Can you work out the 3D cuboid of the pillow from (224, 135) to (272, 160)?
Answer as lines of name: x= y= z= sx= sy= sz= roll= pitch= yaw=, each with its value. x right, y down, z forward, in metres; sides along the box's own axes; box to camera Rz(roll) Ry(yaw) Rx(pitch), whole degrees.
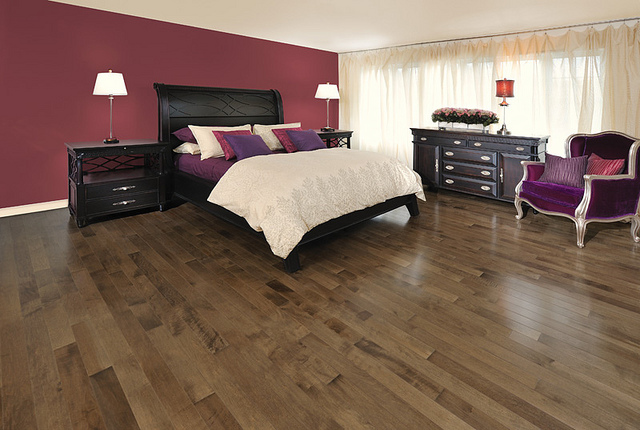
pillow: x=-0.942 y=-0.921 z=5.045 sx=0.511 sy=0.286 sz=0.482 roll=-12 pitch=20 yaw=-27

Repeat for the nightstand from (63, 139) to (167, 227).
nightstand: x=-2.711 y=-0.393 z=5.021 sx=1.131 sy=0.880 sz=0.668 roll=-10 pitch=16 yaw=-41

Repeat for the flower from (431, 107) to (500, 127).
flower: x=2.205 y=-1.522 z=5.930 sx=0.980 sy=0.280 sz=0.214 roll=13 pitch=24 yaw=40

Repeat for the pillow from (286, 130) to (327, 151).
pillow: x=-0.165 y=-1.070 z=5.420 sx=0.422 sy=0.283 sz=0.522 roll=-14 pitch=21 yaw=-31

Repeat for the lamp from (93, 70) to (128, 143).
lamp: x=-2.782 y=-1.481 z=5.155 sx=0.406 sy=0.950 sz=0.735 roll=-12 pitch=20 yaw=-25

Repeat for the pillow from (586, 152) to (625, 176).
pillow: x=3.196 y=-0.563 z=4.333 sx=0.503 sy=0.190 sz=0.358 roll=-18 pitch=23 yaw=-40
